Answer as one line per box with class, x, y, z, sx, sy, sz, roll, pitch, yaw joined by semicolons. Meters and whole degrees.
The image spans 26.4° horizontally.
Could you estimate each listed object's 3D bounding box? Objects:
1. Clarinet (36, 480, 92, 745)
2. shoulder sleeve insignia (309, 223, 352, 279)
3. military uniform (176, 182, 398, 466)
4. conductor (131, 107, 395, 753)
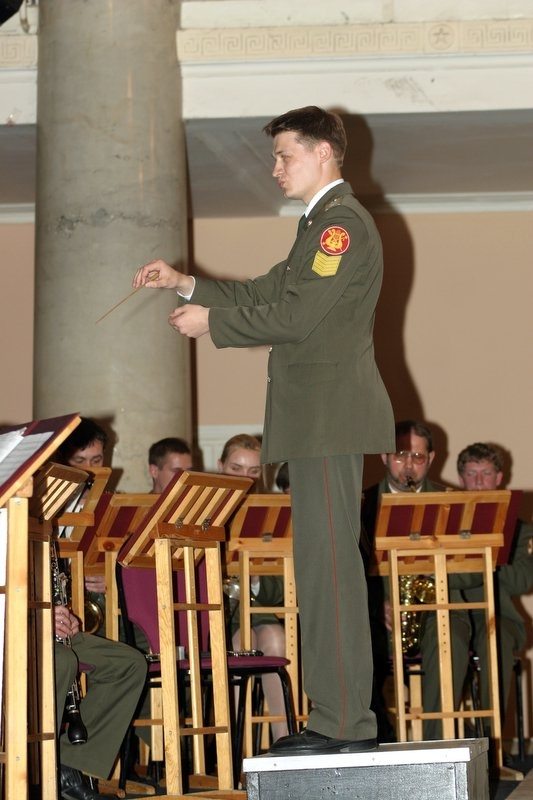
Clarinet;-0.622;0.749;3.520;0.146;1.185;0.168;-3;-13;-2
shoulder sleeve insignia;0.155;-0.360;2.759;0.071;0.139;0.008;13;-19;13
military uniform;0.032;-0.039;2.941;0.567;0.896;0.500;2;-4;-35
conductor;-0.027;0.079;3.012;0.805;1.629;0.514;-2;-5;23
